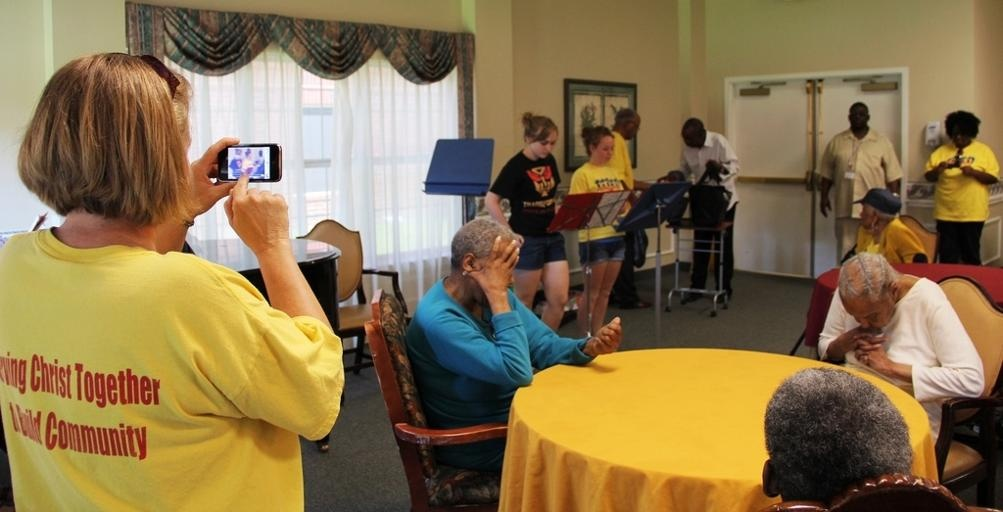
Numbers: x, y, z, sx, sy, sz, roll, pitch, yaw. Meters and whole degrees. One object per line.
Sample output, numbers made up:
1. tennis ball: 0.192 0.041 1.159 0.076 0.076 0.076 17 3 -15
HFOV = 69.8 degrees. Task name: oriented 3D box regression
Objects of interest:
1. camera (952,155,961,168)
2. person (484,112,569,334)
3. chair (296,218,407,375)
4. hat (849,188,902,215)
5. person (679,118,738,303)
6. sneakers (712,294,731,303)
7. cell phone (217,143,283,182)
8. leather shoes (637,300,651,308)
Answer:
1. camera: 4.828 -0.990 7.650 0.102 0.131 0.049 6 -17 26
2. person: 0.252 -0.077 6.375 0.852 2.239 0.752 -3 16 -3
3. chair: -1.208 0.390 5.821 0.792 1.227 0.800 6 14 32
4. hat: 3.005 -0.425 5.788 0.222 0.116 0.300 -16 26 -41
5. person: 2.255 -0.548 8.110 0.932 1.916 0.854 -3 8 -8
6. sneakers: 2.479 0.490 8.083 0.152 0.139 0.218 -2 1 41
7. cell phone: -1.098 -0.399 3.130 0.216 0.118 0.023 -2 1 -19
8. leather shoes: 1.575 0.540 7.965 0.169 0.111 0.054 -9 22 -13
